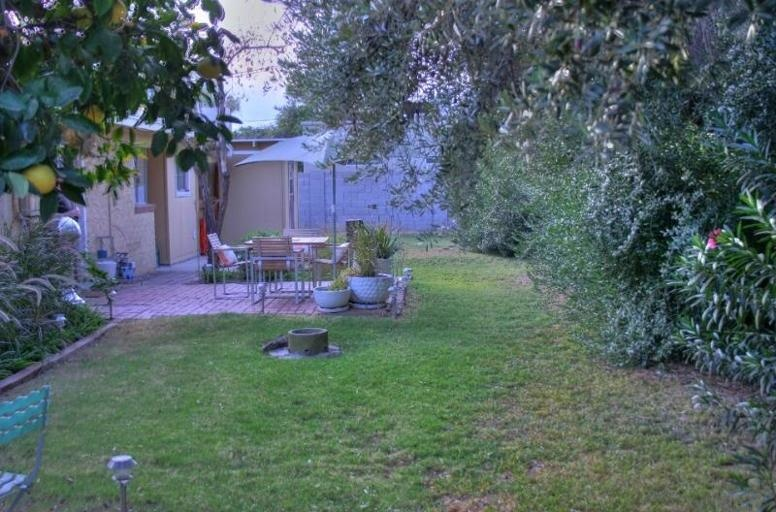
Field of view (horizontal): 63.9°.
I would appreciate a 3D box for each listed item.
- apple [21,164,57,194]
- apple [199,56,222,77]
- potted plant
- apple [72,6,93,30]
[{"bbox_3d":[-1.277,-0.278,2.287,0.108,0.111,0.089,-7,11,-32],"label":"apple"},{"bbox_3d":[-0.802,-0.838,2.805,0.086,0.076,0.042,18,-40,-21],"label":"apple"},{"bbox_3d":[-0.338,0.127,9.104,1.275,1.262,1.115,-3,7,-27],"label":"potted plant"},{"bbox_3d":[-1.338,-1.034,2.709,0.098,0.103,0.038,3,11,21],"label":"apple"}]
